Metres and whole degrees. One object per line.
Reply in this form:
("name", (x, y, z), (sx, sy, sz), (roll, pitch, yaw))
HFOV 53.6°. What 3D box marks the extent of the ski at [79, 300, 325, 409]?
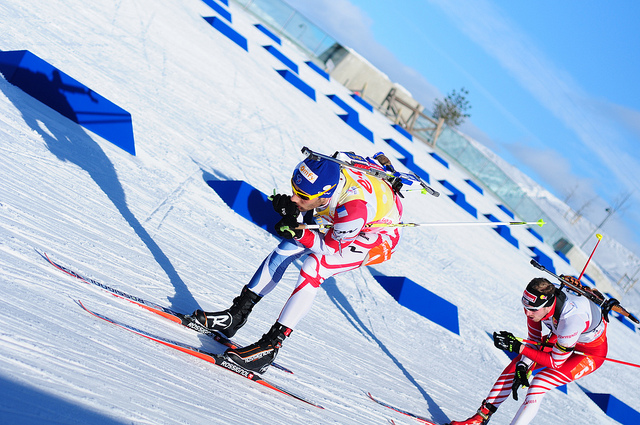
("ski", (-1.367, 1.554, 6.836), (2.794, 0.166, 0.285), (24, 9, -15))
